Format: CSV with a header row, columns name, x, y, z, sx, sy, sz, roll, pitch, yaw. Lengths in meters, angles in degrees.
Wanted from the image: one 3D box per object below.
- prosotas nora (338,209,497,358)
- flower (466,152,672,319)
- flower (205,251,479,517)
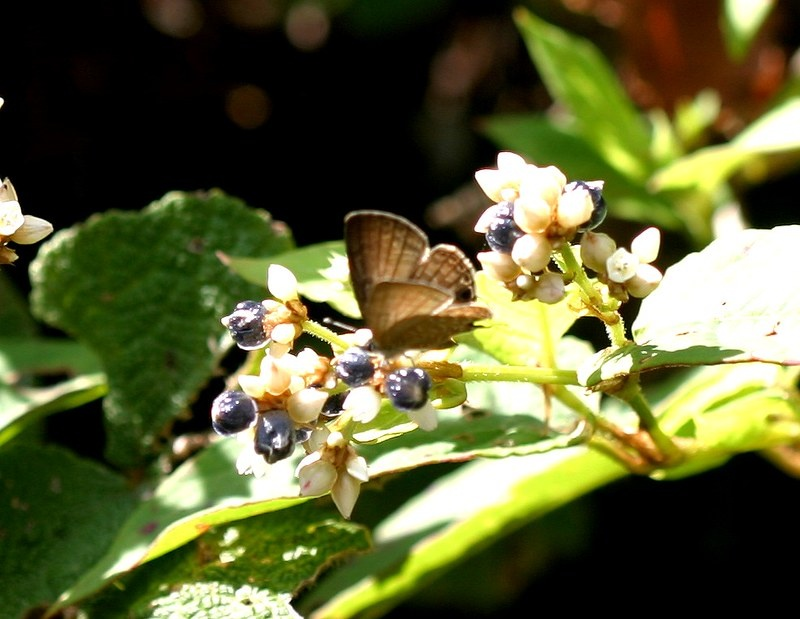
name,x,y,z,sx,sy,sz,roll,pitch,yaw
prosotas nora,0.033,-0.028,0.927,0.177,0.143,0.180,-6,18,17
flower,0.212,-0.066,1.018,0.180,0.234,0.108,-27,39,2
flower,-0.081,0.051,1.012,0.326,0.303,0.162,-36,29,-13
